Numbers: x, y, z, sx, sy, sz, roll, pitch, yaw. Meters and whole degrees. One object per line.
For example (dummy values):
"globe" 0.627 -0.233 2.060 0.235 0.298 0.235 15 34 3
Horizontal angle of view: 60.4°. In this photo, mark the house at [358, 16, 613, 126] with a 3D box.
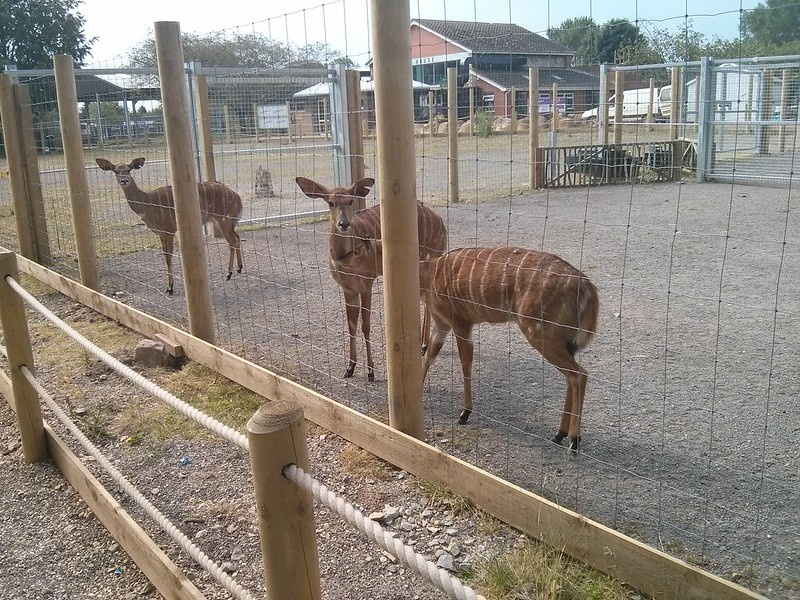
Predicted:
"house" 0.735 -1.695 5.177 1.339 0.763 2.809 0 19 12
